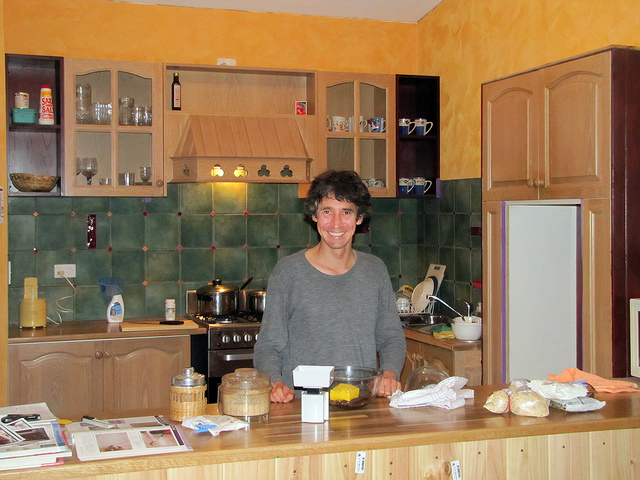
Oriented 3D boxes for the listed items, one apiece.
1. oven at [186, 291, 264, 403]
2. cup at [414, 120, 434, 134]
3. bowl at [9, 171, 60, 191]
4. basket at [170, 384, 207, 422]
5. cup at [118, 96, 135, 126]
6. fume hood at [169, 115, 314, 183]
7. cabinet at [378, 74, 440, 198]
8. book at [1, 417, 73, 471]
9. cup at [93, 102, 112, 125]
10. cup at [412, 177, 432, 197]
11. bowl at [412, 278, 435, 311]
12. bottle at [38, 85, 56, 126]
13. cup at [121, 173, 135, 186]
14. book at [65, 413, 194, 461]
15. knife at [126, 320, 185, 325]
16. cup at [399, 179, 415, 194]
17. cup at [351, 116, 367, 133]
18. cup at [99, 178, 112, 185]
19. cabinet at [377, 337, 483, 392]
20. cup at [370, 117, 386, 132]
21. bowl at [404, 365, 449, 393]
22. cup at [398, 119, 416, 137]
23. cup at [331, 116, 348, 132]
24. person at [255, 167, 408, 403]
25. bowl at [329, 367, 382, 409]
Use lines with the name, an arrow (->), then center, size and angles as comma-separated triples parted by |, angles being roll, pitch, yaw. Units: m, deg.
oven -> -0.615, 0.863, 4.668 | 0.604, 0.871, 0.592 | 1, 2, -32
cup -> 0.798, -0.881, 4.927 | 0.138, 0.133, 0.082 | 2, 4, -4
bowl -> -1.923, -0.392, 4.255 | 0.175, 0.071, 0.173 | 3, -2, 0
basket -> -0.498, 0.597, 2.357 | 0.151, 0.121, 0.149 | -1, -5, 15
cup -> -1.370, -0.911, 4.500 | 0.127, 0.224, 0.132 | -1, 2, 0
fume hood -> -0.536, -0.698, 4.686 | 1.013, 0.488, 0.539 | -1, 12, -15
cabinet -> 0.708, -0.835, 5.025 | 0.381, 0.916, 0.303 | -4, 16, -13
book -> -0.944, 0.659, 2.075 | 0.204, 0.095, 0.329 | -1, -1, -33
cup -> -1.520, -0.881, 4.400 | 0.128, 0.151, 0.131 | 0, 2, 0
cup -> 0.791, -0.415, 4.954 | 0.080, 0.125, 0.222 | -2, -1, 36
bowl -> 0.778, 0.411, 4.839 | 0.054, 0.213, 0.208 | 24, 6, -21
bottle -> -1.895, -0.937, 4.388 | 0.111, 0.341, 0.263 | -1, -1, -24
cup -> -1.348, -0.427, 4.433 | 0.075, 0.084, 0.084 | 1, -2, 13
book -> -0.659, 0.663, 2.153 | 0.383, 0.059, 0.397 | -1, -1, -24
knife -> -1.172, 0.592, 4.543 | 0.396, 0.014, 0.106 | -2, -1, 4
cup -> 0.665, -0.422, 4.835 | 0.131, 0.135, 0.079 | -1, 3, -19
cup -> 0.305, -0.886, 4.822 | 0.079, 0.141, 0.137 | 0, 4, -9
cup -> -1.488, -0.409, 4.388 | 0.053, 0.041, 0.050 | 0, 0, 0
cabinet -> 0.761, 0.817, 4.258 | 0.270, 0.280, 0.674 | -1, -1, -30
cup -> 0.434, -0.885, 4.839 | 0.129, 0.094, 0.081 | 2, -3, -33
bowl -> 0.418, 0.540, 2.539 | 0.116, 0.070, 0.120 | -3, 1, 0
cup -> 0.653, -0.866, 4.888 | 0.157, 0.150, 0.105 | 2, 1, -4
cup -> 0.144, -0.889, 4.786 | 0.113, 0.087, 0.085 | -3, 7, -24
person -> 0.070, 0.286, 2.794 | 0.695, 1.163, 0.574 | -2, 5, -15
bowl -> 0.139, 0.537, 2.449 | 0.175, 0.098, 0.177 | 0, -16, 0
